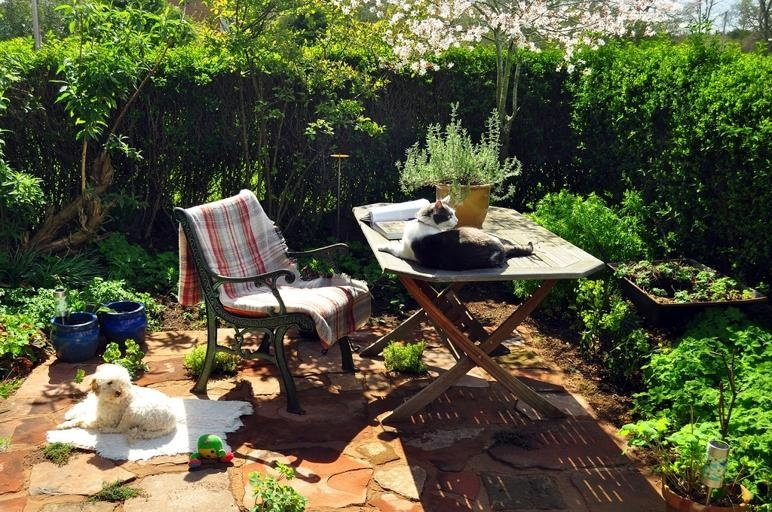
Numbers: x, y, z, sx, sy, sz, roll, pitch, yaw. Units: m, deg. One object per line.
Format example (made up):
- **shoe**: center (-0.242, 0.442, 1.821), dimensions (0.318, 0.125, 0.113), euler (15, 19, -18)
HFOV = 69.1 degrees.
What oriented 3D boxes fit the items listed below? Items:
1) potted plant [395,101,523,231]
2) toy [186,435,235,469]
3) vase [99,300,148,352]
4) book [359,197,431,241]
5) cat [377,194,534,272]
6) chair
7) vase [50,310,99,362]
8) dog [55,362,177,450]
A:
- **potted plant**: center (0.643, -0.816, 5.298), dimensions (1.012, 1.175, 0.905), euler (-7, 19, -33)
- **toy**: center (-1.318, 1.500, 4.258), dimensions (0.382, 0.245, 0.230), euler (1, -4, -18)
- **vase**: center (-2.603, 0.669, 5.581), dimensions (0.462, 0.397, 0.471), euler (-1, 7, -9)
- **book**: center (0.098, -0.342, 5.318), dimensions (0.631, 0.233, 0.781), euler (-2, 17, -3)
- **cat**: center (0.535, -0.138, 4.469), dimensions (1.044, 0.432, 0.506), euler (16, 36, 28)
- **chair**: center (-0.949, 0.151, 5.761), dimensions (2.182, 2.140, 1.604), euler (6, 15, 22)
- **vase**: center (-2.967, 0.759, 5.545), dimensions (0.467, 0.448, 0.456), euler (-2, 8, -17)
- **dog**: center (-2.137, 1.177, 4.573), dimensions (0.935, 0.502, 0.524), euler (5, 15, -9)
